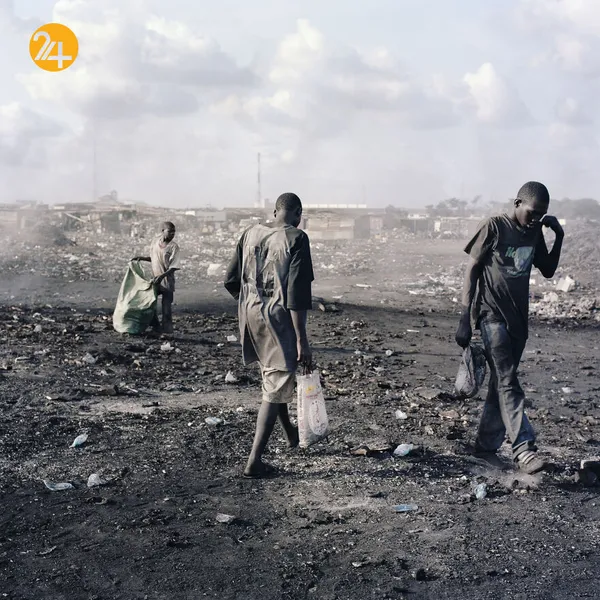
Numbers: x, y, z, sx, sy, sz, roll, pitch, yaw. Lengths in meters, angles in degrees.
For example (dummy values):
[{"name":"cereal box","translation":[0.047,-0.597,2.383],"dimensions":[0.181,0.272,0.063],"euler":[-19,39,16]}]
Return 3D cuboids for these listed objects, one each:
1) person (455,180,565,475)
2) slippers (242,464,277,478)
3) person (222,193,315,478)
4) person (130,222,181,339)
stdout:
[{"name":"person","translation":[1.192,0.154,3.497],"dimensions":[0.548,1.645,0.729],"euler":[5,10,24]},{"name":"slippers","translation":[-0.218,0.942,3.335],"dimensions":[0.175,0.079,0.076],"euler":[2,12,-15]},{"name":"person","translation":[-0.164,0.265,3.420],"dimensions":[0.467,1.362,0.527],"euler":[0,10,-8]},{"name":"person","translation":[-1.899,-0.320,8.102],"dimensions":[0.473,1.540,2.161],"euler":[-1,10,-13]}]
